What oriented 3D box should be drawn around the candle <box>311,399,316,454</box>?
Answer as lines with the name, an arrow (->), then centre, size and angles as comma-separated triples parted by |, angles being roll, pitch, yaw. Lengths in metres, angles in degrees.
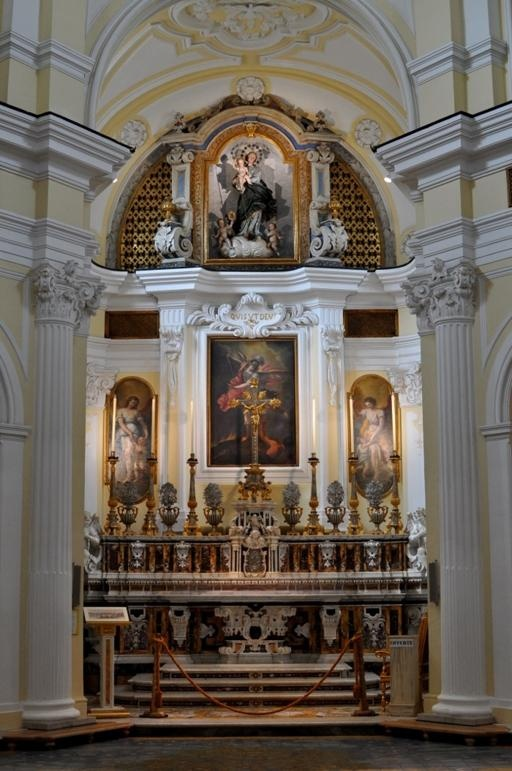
candle -> 0.791, 0.535, 14.688 | 0.073, 0.726, 0.136 | 1, -7, 0

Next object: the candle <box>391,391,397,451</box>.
candle -> 1.938, 0.490, 15.196 | 0.084, 0.832, 0.118 | 0, -7, 5
